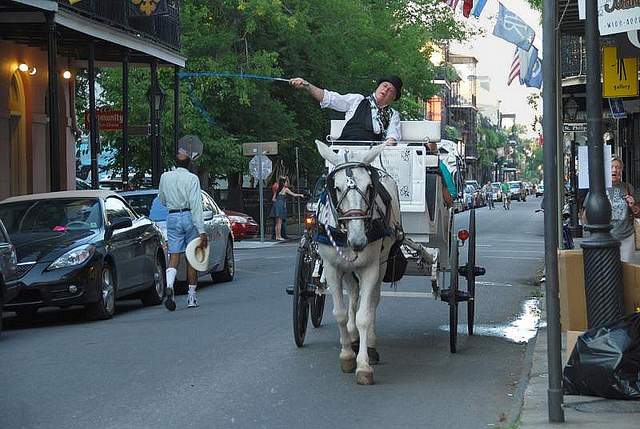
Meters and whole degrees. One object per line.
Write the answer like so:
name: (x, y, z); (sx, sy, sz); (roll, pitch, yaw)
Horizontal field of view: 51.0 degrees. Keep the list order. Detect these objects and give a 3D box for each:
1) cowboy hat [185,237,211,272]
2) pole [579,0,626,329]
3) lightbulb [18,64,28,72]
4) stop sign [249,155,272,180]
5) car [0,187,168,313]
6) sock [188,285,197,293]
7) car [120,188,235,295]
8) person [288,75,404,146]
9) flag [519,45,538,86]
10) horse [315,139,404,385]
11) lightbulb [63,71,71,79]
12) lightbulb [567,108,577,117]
cowboy hat: (-2.385, 0.776, 13.036); (0.533, 0.609, 0.124); (-32, 24, -36)
pole: (3.344, -0.593, 7.987); (0.479, 3.923, 0.634); (-2, 5, -5)
lightbulb: (-10.007, -4.916, 22.648); (0.166, 0.223, 0.377); (-2, 5, -5)
stop sign: (-2.619, -2.093, 29.549); (0.768, 1.019, 1.675); (-2, 5, 6)
car: (-4.458, 0.762, 12.951); (2.426, 2.417, 3.815); (0, 5, 21)
sock: (-2.505, 1.447, 13.157); (0.111, 0.151, 0.222); (-3, 5, -13)
car: (-3.100, 0.696, 16.299); (1.503, 1.527, 3.653); (0, -1, 12)
person: (0.574, -1.306, 10.030); (1.382, 1.072, 1.046); (21, 6, 4)
flag: (6.177, -4.445, 20.037); (0.708, 1.571, 0.169); (1, -32, 21)
horse: (0.531, 0.536, 8.795); (0.907, 2.954, 3.837); (1, 2, 9)
lightbulb: (-9.588, -5.325, 25.445); (0.238, 0.316, 0.249); (1, -16, -25)
lightbulb: (10.192, -4.080, 27.136); (0.279, 0.326, 0.284); (0, 0, -14)
